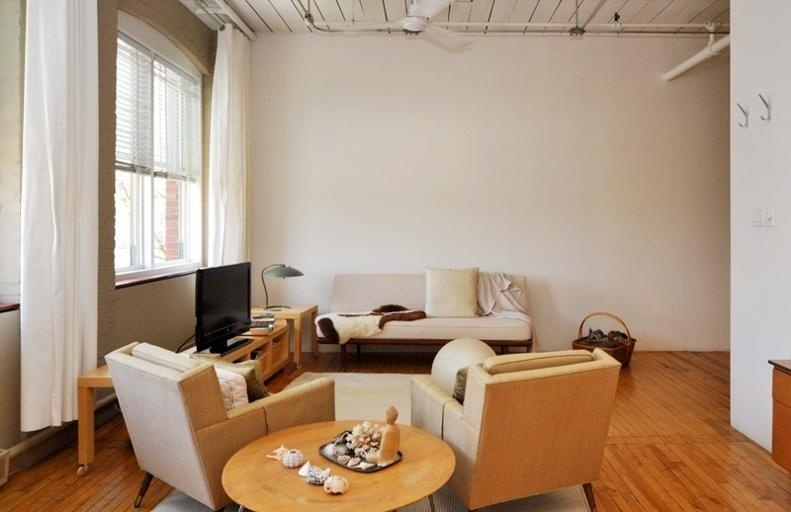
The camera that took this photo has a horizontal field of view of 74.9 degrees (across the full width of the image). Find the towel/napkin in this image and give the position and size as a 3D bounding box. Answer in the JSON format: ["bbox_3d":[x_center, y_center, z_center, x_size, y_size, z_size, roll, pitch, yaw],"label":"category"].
[{"bbox_3d":[1.365,0.584,6.613,0.698,0.956,0.923,0,-3,10],"label":"towel/napkin"}]

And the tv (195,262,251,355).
[{"bbox_3d":[-1.664,0.523,4.955,0.311,0.900,0.939,0,-1,11],"label":"tv"}]

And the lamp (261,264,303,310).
[{"bbox_3d":[-1.411,0.347,6.250,0.606,0.682,0.538,-1,1,-4],"label":"lamp"}]

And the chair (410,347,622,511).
[{"bbox_3d":[0.810,1.102,3.968,1.138,1.180,1.232,-1,4,-18],"label":"chair"}]

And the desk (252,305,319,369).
[{"bbox_3d":[-1.346,0.788,6.335,0.625,0.686,1.087,0,0,3],"label":"desk"}]

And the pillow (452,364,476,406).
[{"bbox_3d":[0.474,0.903,3.580,0.100,0.285,0.276,6,-12,3],"label":"pillow"}]

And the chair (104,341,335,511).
[{"bbox_3d":[-1.252,1.150,3.992,1.010,1.277,1.391,2,2,34],"label":"chair"}]

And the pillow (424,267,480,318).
[{"bbox_3d":[0.694,0.466,6.312,0.560,0.521,0.200,-1,-7,3],"label":"pillow"}]
